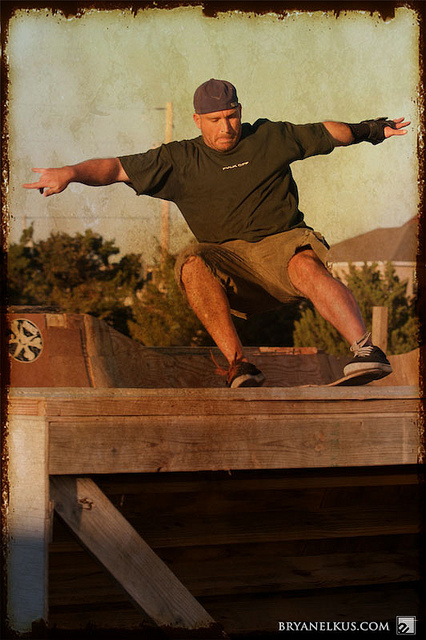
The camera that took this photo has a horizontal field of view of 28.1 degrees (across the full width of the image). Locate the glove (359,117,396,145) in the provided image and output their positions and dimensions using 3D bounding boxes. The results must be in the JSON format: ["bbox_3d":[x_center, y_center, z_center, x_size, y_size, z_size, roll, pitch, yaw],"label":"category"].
[{"bbox_3d":[0.892,-1.036,4.657,0.198,0.130,0.135,-16,21,-2],"label":"glove"}]

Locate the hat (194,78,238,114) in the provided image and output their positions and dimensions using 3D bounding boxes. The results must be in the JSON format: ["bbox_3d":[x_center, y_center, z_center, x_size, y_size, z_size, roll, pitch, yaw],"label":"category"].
[{"bbox_3d":[0.002,-1.148,4.373,0.210,0.158,0.169,1,27,36],"label":"hat"}]

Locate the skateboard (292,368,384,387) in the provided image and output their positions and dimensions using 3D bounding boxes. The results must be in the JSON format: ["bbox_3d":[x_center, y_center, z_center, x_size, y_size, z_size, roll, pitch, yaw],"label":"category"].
[{"bbox_3d":[0.518,0.242,3.492,0.393,0.036,0.106,-3,-5,-19],"label":"skateboard"}]
